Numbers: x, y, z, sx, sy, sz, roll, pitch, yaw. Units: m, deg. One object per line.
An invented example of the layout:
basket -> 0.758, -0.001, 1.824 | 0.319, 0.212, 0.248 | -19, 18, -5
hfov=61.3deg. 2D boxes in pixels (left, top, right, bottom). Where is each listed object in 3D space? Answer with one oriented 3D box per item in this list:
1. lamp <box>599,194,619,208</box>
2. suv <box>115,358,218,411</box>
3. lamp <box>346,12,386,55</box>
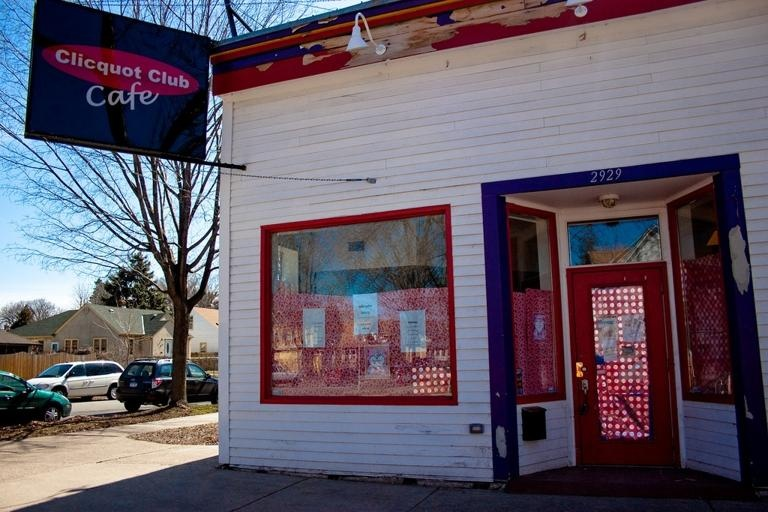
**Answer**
lamp -> 3.780, -0.949, 10.852 | 0.233, 0.151, 0.237 | 4, -4, 1
suv -> -7.127, 4.202, 21.768 | 1.772, 1.540, 3.892 | -4, -4, 27
lamp -> -0.350, -3.750, 10.808 | 0.603, 0.656, 0.872 | -3, -1, 12
